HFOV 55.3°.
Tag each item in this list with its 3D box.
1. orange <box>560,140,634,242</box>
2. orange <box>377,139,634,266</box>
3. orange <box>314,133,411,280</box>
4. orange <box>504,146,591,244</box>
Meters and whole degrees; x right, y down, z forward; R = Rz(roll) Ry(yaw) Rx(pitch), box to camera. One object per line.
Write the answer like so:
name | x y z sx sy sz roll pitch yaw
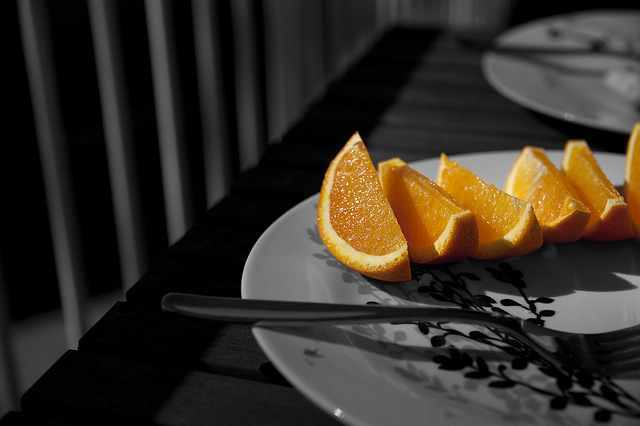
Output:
orange | 0.425 -0.029 0.944 0.045 0.055 0.157 -4 34 2
orange | 0.289 -0.009 0.930 0.219 0.089 0.252 -3 22 4
orange | 0.063 -0.003 0.920 0.108 0.079 0.250 11 43 -22
orange | 0.368 -0.027 0.979 0.116 0.080 0.220 -6 29 6
